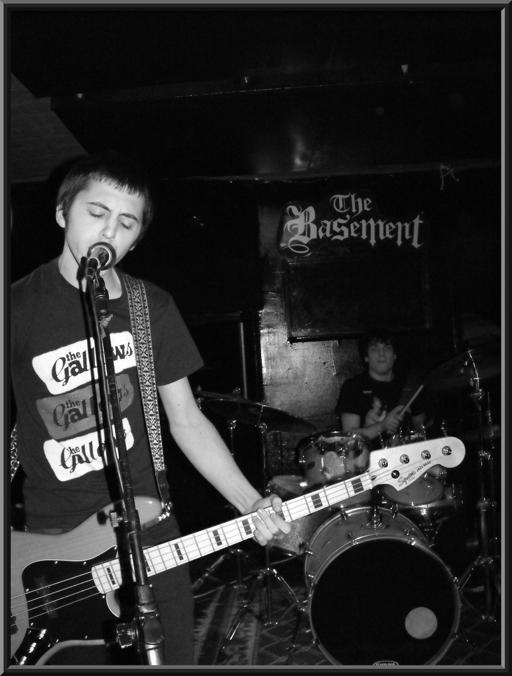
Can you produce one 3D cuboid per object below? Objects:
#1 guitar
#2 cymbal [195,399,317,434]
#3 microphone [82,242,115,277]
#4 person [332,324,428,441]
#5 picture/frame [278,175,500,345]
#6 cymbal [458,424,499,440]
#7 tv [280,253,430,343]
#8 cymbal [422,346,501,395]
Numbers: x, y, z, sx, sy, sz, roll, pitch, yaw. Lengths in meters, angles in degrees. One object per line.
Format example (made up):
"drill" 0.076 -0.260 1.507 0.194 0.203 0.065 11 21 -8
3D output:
"guitar" 0.003 0.908 2.954 1.385 0.540 0.126 -18 17 -10
"cymbal" -0.015 0.457 4.354 0.426 0.110 0.429 3 -23 29
"microphone" -0.455 -0.228 2.055 0.081 0.097 0.175 -6 0 6
"person" 0.858 0.334 5.086 0.620 0.739 0.836 -6 0 13
"picture/frame" 1.044 -0.643 5.575 1.737 1.241 0.067 -1 5 29
"cymbal" 1.551 0.660 4.923 0.225 0.059 0.225 -10 -6 -16
"tv" 0.800 -0.436 5.894 1.149 0.762 0.659 -6 18 -5
"cymbal" 1.250 0.193 4.314 0.338 0.083 0.339 -2 -37 9
